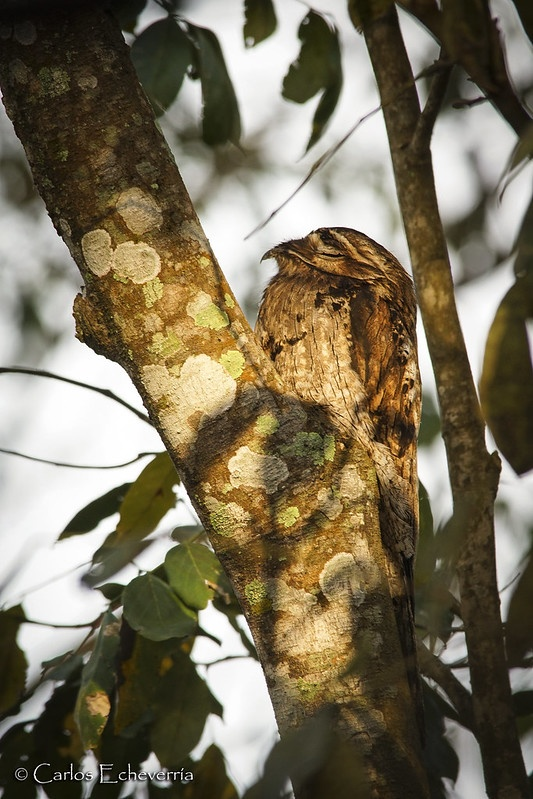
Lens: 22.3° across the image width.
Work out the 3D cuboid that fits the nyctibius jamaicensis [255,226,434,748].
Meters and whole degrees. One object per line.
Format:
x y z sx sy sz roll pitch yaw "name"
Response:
0.225 0.089 3.295 0.537 1.126 0.343 8 -25 -10 "nyctibius jamaicensis"
